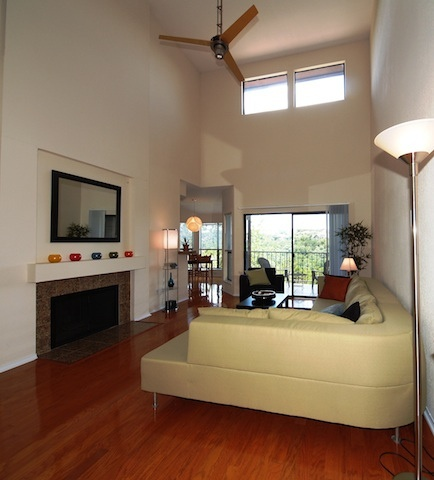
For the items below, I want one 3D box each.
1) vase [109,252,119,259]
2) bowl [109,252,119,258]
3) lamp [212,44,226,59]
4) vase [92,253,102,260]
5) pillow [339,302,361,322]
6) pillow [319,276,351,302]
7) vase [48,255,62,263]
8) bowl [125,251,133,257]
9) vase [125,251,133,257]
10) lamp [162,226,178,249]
[{"bbox_3d":[-1.362,0.193,4.800,0.074,0.064,0.082,0,-8,-4],"label":"vase"},{"bbox_3d":[-1.361,0.185,4.802,0.071,0.060,0.078,0,-8,0],"label":"bowl"},{"bbox_3d":[0.024,-2.031,3.906,0.086,0.111,0.097,1,-29,0],"label":"lamp"},{"bbox_3d":[-1.492,0.194,4.543,0.146,0.086,0.120,-3,4,-41],"label":"vase"},{"bbox_3d":[0.960,0.516,2.628,0.076,0.051,0.245,-21,17,39],"label":"pillow"},{"bbox_3d":[1.655,0.657,5.094,0.098,0.334,0.323,24,-19,-27],"label":"pillow"},{"bbox_3d":[-1.713,0.194,3.847,0.076,0.094,0.098,5,-4,-22],"label":"vase"},{"bbox_3d":[-1.250,0.197,5.170,0.075,0.070,0.071,8,41,-7],"label":"bowl"},{"bbox_3d":[-1.253,0.192,5.158,0.070,0.088,0.093,-2,-2,-8],"label":"vase"},{"bbox_3d":[-0.777,-0.025,6.096,0.246,0.332,0.290,-1,3,-9],"label":"lamp"}]
